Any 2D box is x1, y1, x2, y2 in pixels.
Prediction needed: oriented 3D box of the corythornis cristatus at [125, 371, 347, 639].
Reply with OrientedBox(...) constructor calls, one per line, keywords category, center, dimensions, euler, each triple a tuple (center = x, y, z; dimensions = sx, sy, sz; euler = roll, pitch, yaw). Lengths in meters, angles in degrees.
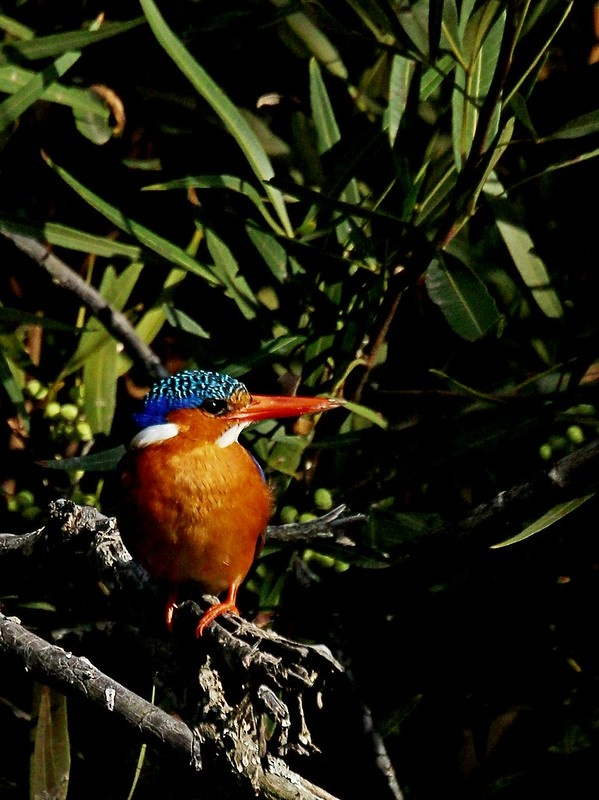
OrientedBox(category="corythornis cristatus", center=(-0.189, 0.208, 1.929), dimensions=(0.421, 0.545, 0.594), euler=(-1, 9, -15))
